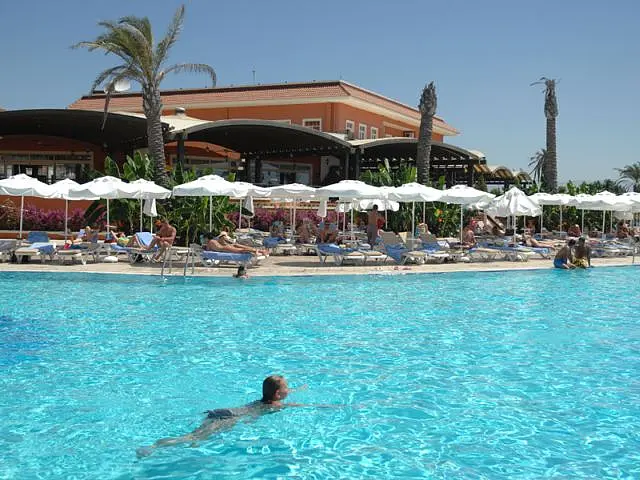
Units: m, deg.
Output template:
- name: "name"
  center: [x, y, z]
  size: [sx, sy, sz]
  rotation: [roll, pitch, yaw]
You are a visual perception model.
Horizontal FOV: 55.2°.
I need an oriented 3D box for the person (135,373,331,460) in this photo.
- name: "person"
  center: [-1.271, 2.336, 8.175]
  size: [1.489, 0.331, 0.852]
  rotation: [-12, 14, -29]
